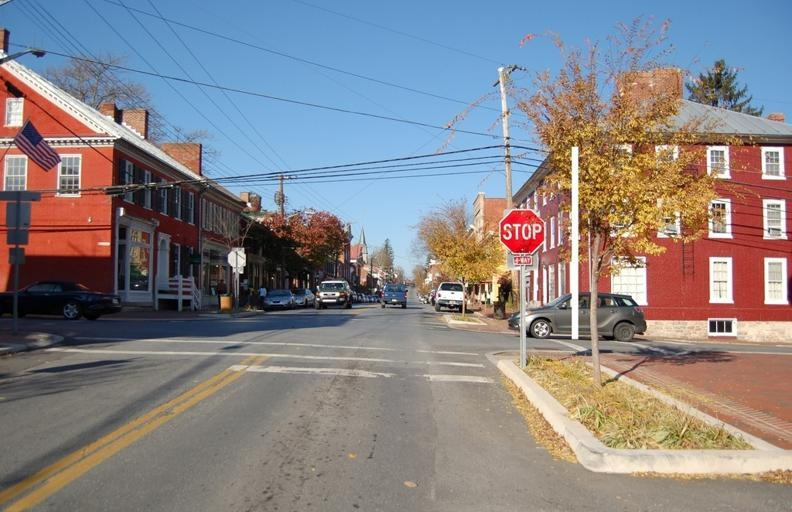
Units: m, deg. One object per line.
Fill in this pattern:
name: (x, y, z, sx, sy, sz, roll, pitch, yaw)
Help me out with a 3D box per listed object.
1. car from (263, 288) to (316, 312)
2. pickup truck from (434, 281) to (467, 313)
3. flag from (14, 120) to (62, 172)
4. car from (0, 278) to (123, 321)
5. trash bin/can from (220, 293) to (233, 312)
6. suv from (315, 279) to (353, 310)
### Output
car: (-7.171, 2.886, 44.087, 1.316, 0.950, 3.165, -3, -11, 7)
pickup truck: (3.705, 2.775, 45.988, 1.708, 1.795, 2.699, 1, 3, -3)
flag: (-13.064, -4.017, 24.078, 0.890, 1.715, 1.351, 3, 4, 25)
car: (-13.170, 1.773, 26.148, 3.764, 1.165, 1.833, 2, -4, 4)
trash bin/can: (-8.630, 2.412, 33.860, 0.539, 0.832, 1.127, 0, 4, -19)
suv: (-4.694, 2.813, 49.511, 2.464, 1.829, 2.948, 1, 3, -8)
